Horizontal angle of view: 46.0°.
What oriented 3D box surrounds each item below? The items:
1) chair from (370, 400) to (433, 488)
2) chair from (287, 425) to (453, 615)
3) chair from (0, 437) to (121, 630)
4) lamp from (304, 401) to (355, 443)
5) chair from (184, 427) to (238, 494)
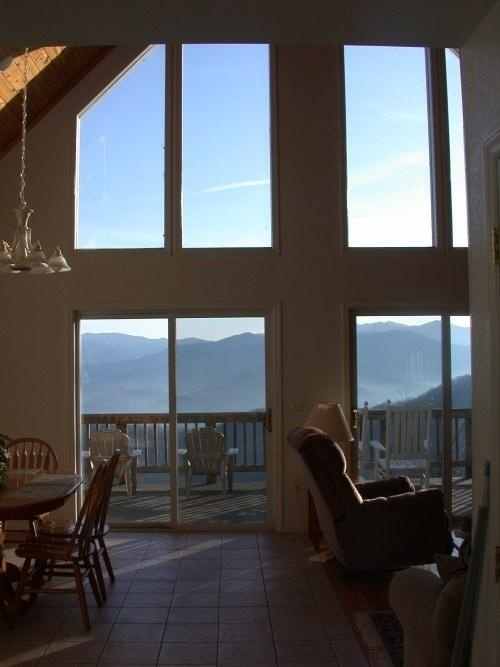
[{"bbox_3d":[1.308,0.979,4.926,0.471,1.000,0.559,0,-16,10],"label":"chair"},{"bbox_3d":[0.859,1.174,4.140,1.023,1.270,0.900,1,-6,11],"label":"chair"},{"bbox_3d":[-1.098,1.166,3.761,0.704,1.502,0.748,2,-4,0],"label":"chair"},{"bbox_3d":[0.619,0.669,4.572,0.243,0.234,0.312,-1,-4,-1],"label":"lamp"},{"bbox_3d":[-0.368,1.103,5.219,0.489,0.624,0.560,1,2,22],"label":"chair"}]
